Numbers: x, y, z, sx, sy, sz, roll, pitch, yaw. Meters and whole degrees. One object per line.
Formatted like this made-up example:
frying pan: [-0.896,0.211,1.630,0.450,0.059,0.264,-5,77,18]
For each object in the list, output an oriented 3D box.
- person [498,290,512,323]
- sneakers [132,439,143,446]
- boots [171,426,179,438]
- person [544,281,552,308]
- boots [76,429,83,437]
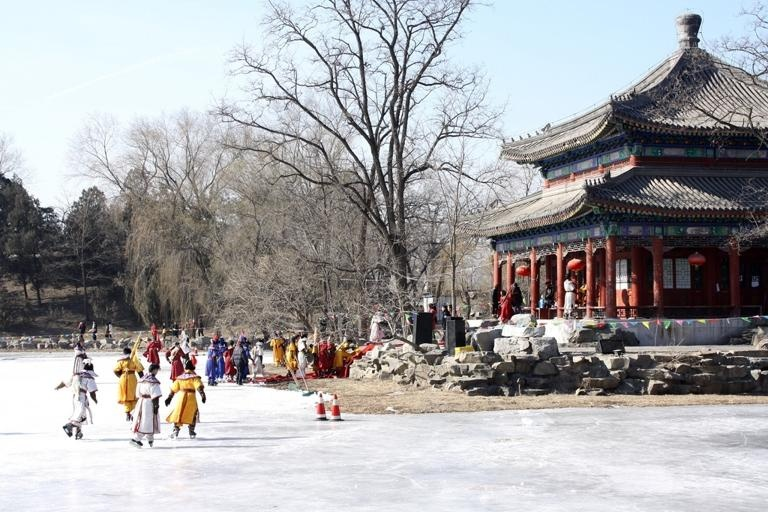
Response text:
person: [5.634,2.297,56.219,0.556,1.569,1.384,-2,-10,5]
sneakers: [-7.935,5.999,40.115,0.367,0.244,0.269,1,-10,-9]
boots: [-6.844,5.791,41.019,0.267,0.392,0.512,1,-10,-10]
person: [7.900,1.856,58.802,0.466,1.437,1.607,-3,-10,9]
boots: [-10.012,5.815,40.919,0.259,0.320,0.177,-1,-20,-1]
